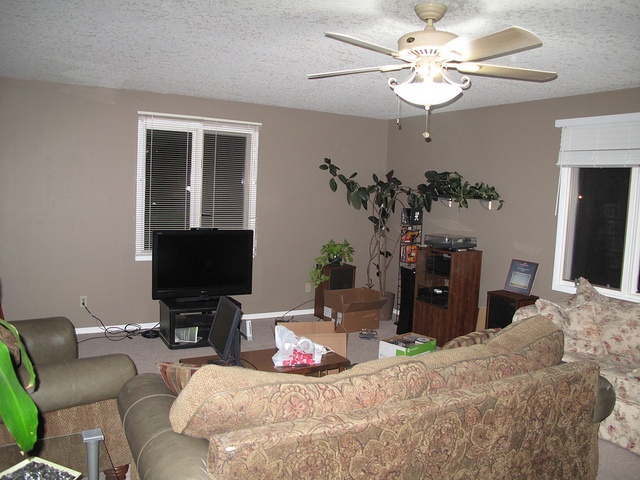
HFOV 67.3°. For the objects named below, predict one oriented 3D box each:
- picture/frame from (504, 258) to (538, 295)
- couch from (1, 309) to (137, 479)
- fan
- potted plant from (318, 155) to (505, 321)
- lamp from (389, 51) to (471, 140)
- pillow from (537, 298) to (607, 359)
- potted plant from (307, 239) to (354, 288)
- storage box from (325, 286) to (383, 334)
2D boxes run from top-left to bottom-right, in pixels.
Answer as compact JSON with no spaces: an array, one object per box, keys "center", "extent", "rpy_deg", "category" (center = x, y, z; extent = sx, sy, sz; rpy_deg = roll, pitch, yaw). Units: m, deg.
[{"center":[2.100,0.390,5.005],"extent":[0.035,0.409,0.310],"rpy_deg":[24,-4,-39],"category":"picture/frame"},{"center":[-1.611,0.783,3.205],"extent":[0.983,0.757,0.989],"rpy_deg":[-4,7,-35],"category":"couch"},{"center":[0.754,-1.046,2.653],"extent":[0.710,0.224,0.752],"rpy_deg":[1,-3,45],"category":"fan"},{"center":[1.318,-0.018,6.052],"extent":[1.808,1.603,1.852],"rpy_deg":[0,2,-34],"category":"potted plant"},{"center":[0.638,-0.831,2.998],"extent":[0.475,0.525,0.516],"rpy_deg":[-2,0,35],"category":"lamp"},{"center":[2.125,0.754,4.182],"extent":[0.587,0.596,0.182],"rpy_deg":[1,-19,-12],"category":"pillow"},{"center":[0.114,0.319,6.103],"extent":[0.398,0.765,0.410],"rpy_deg":[22,-7,-31],"category":"potted plant"},{"center":[0.399,0.806,5.696],"extent":[0.593,0.428,0.534],"rpy_deg":[-1,0,-24],"category":"storage box"}]
